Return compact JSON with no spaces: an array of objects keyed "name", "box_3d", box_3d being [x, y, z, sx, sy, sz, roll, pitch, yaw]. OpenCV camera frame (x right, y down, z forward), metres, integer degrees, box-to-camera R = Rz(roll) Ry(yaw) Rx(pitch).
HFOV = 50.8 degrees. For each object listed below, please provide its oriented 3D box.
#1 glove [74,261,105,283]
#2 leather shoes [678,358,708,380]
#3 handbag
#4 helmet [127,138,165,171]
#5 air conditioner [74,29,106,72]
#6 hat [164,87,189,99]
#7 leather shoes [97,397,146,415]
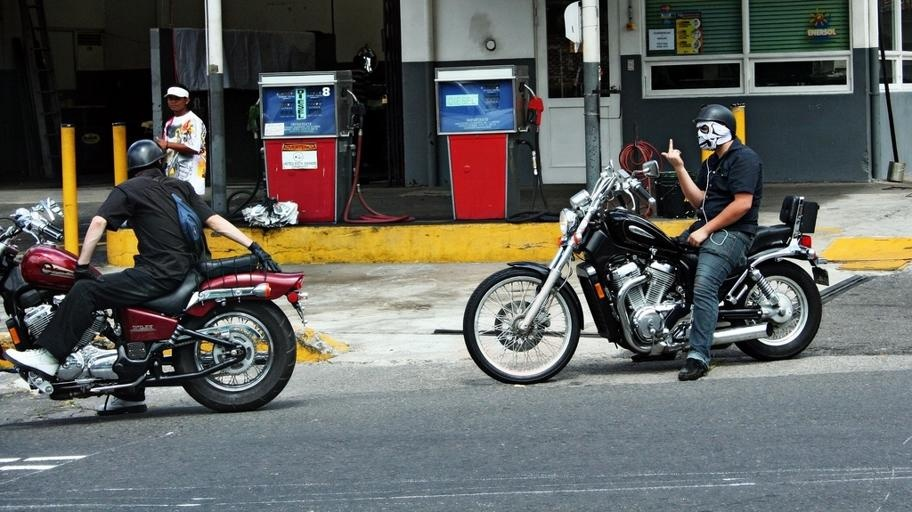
[{"name":"glove","box_3d":[-3.766,0.174,9.818,0.298,0.173,0.135,14,-11,-15]},{"name":"leather shoes","box_3d":[2.557,1.210,10.378,0.447,0.175,0.154,-6,14,-39]},{"name":"handbag","box_3d":[-2.781,-0.400,10.338,0.619,0.732,0.843,-14,-1,-39]},{"name":"helmet","box_3d":[-3.283,-1.077,10.207,0.376,0.269,0.322,6,4,-15]},{"name":"air conditioner","box_3d":[-11.224,-6.303,29.575,0.982,1.176,0.844,1,4,-7]},{"name":"hat","box_3d":[-4.120,-2.411,14.160,0.293,0.178,0.423,-5,10,-19]},{"name":"leather shoes","box_3d":[-3.532,1.569,10.257,0.510,0.260,0.201,3,0,-5]}]
